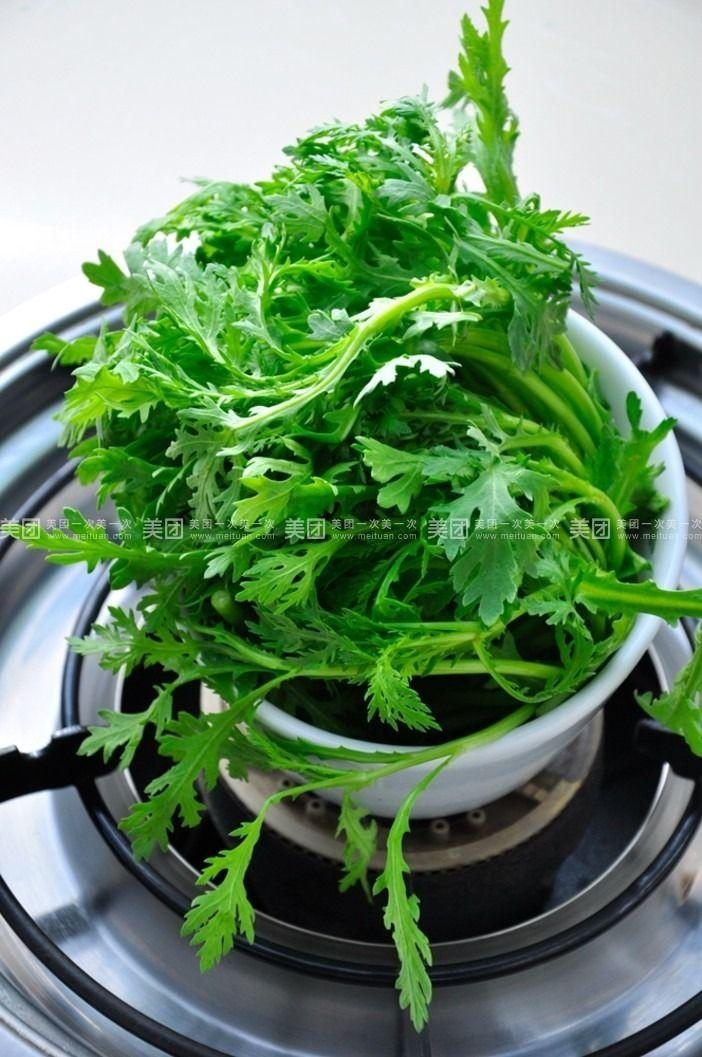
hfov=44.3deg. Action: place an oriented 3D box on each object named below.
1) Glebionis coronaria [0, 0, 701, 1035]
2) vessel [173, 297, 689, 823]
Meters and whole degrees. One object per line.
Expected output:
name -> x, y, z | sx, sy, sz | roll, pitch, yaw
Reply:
Glebionis coronaria -> 0.093, 0.024, 0.540 | 0.498, 0.483, 0.237 | -11, -34, 29
vessel -> 0.083, 0.044, 0.544 | 0.268, 0.273, 0.185 | 50, 5, 25
